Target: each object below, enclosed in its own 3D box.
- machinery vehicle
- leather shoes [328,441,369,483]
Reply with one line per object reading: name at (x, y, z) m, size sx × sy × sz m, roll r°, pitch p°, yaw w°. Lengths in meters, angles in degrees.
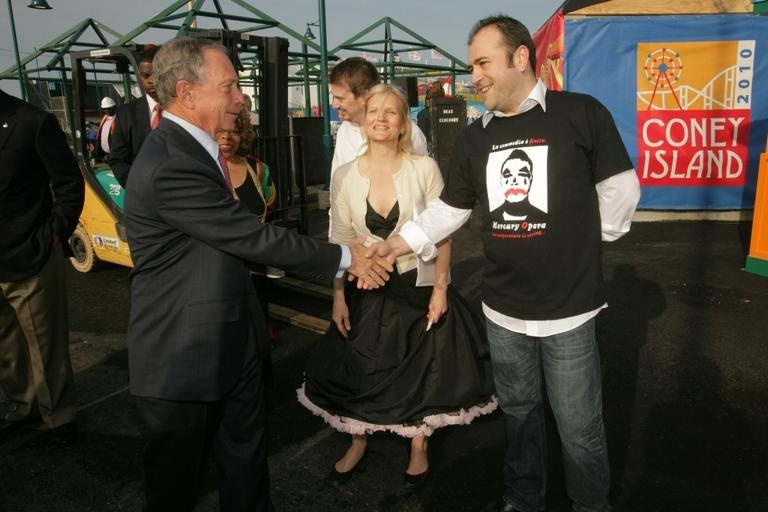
machinery vehicle at (-2.912, -1.216, 8.398) m, size 2.830 × 2.915 × 1.300 m, roll 4°, pitch 6°, yaw 28°
leather shoes at (-0.271, 1.634, 4.933) m, size 0.141 × 0.170 × 0.435 m, roll 12°, pitch 31°, yaw 34°
